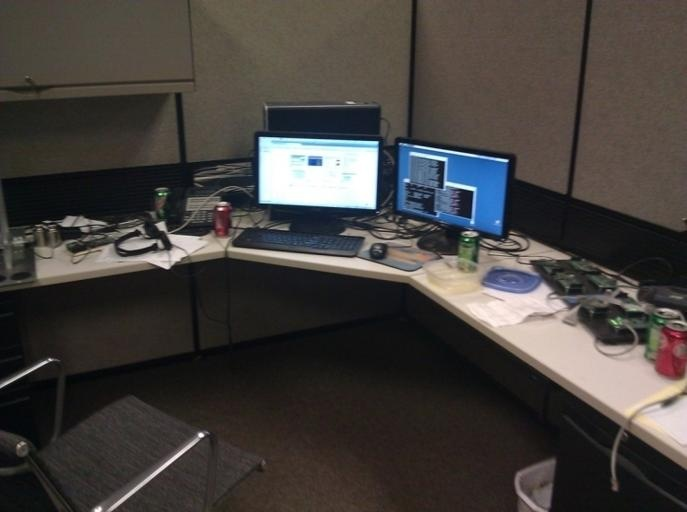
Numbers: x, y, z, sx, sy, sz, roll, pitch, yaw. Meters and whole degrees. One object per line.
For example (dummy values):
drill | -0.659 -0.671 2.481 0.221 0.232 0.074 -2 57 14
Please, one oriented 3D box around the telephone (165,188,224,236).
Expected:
telephone | -0.711 -0.226 2.638 0.190 0.082 0.253 2 51 1

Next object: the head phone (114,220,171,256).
head phone | -0.875 -0.085 2.471 0.282 0.133 0.306 0 21 -13

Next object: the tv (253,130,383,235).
tv | -0.123 -0.360 2.570 0.530 0.363 0.149 2 19 6
